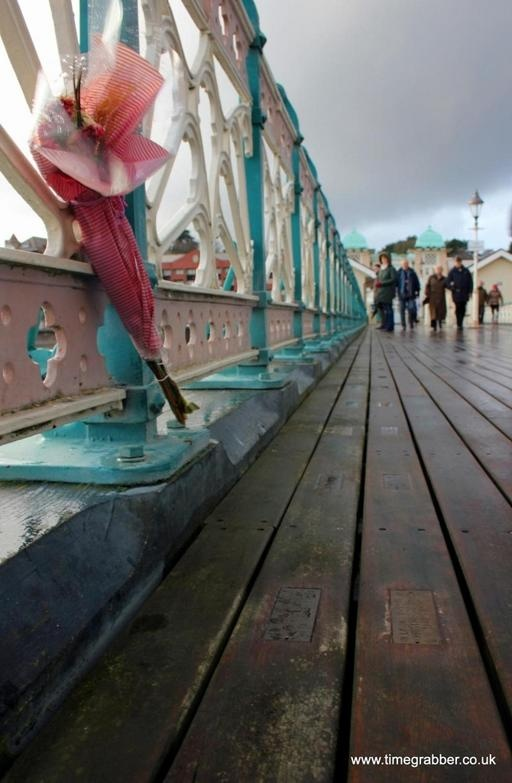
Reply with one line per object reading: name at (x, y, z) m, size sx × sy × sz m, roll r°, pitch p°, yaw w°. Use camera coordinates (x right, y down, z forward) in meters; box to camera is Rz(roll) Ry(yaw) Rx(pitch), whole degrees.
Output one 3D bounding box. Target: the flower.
flower at (-0.365, -0.382, 1.263) m, size 0.229 × 1.054 × 0.595 m, roll 0°, pitch 7°, yaw 20°
